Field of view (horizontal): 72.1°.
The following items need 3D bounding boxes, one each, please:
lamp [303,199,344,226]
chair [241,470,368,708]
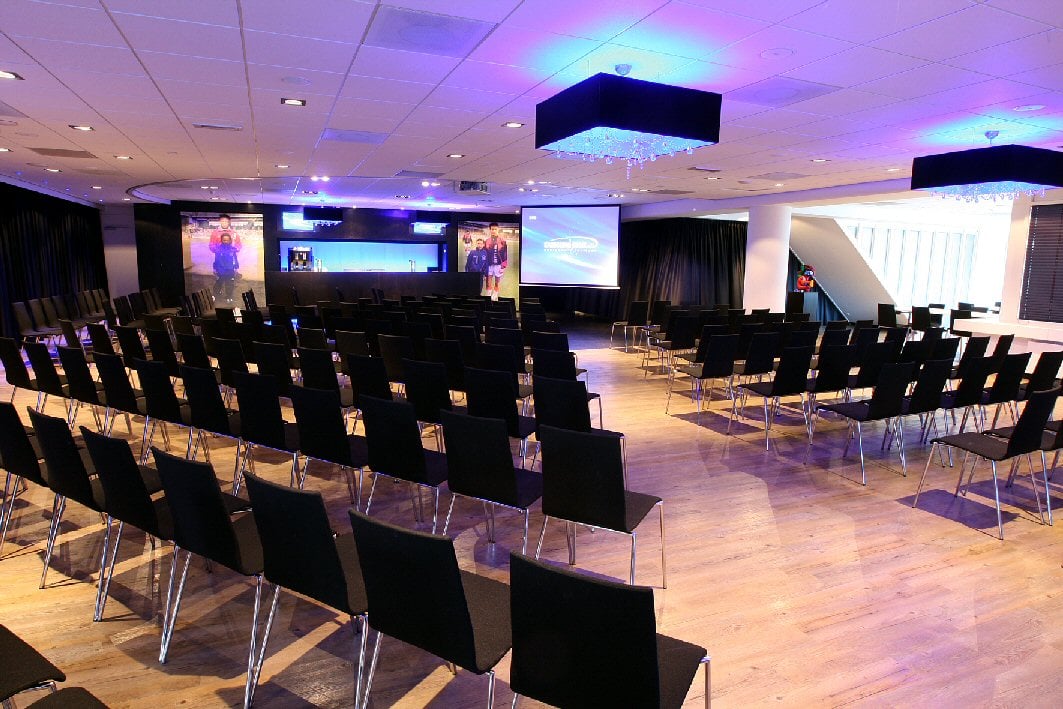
[{"bbox_3d":[-5.517,-3.725,19.480,0.856,0.517,1.894,-3,10,-10],"label":"lamp"},{"bbox_3d":[-1.462,1.471,4.761,0.895,1.486,0.722,0,12,5],"label":"chair"}]
